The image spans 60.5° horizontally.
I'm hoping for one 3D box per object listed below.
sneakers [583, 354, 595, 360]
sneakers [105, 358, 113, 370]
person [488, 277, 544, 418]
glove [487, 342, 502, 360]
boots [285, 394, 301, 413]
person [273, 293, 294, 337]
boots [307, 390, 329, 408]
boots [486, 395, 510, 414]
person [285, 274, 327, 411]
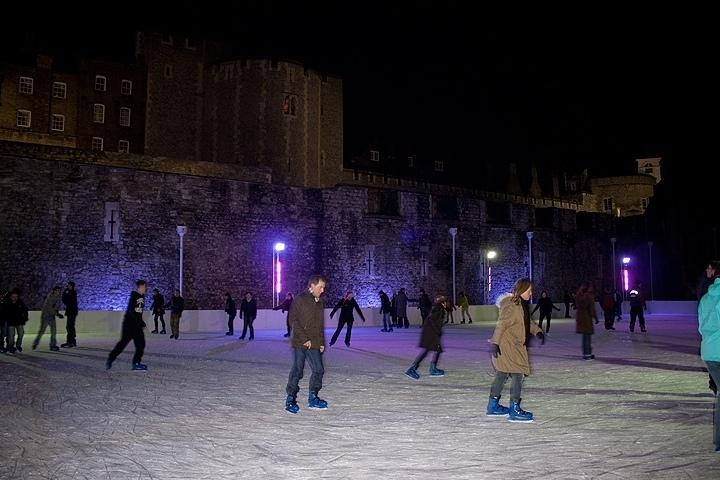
[{"bbox_3d":[6.460,3.344,17.510,0.153,0.184,0.431,-2,-16,7],"label":"sneakers"},{"bbox_3d":[-6.461,3.177,15.770,0.191,0.140,0.327,8,-24,-32],"label":"sneakers"},{"bbox_3d":[2.666,1.869,10.732,0.885,2.403,1.313,0,-2,12],"label":"person"},{"bbox_3d":[2.229,1.846,10.227,0.180,0.254,0.090,-2,-4,28],"label":"glove"},{"bbox_3d":[-1.264,2.967,11.171,0.331,0.331,0.219,-2,-7,23],"label":"boots"},{"bbox_3d":[-3.406,3.289,26.610,1.061,1.371,2.699,-1,23,-5],"label":"person"},{"bbox_3d":[-0.814,2.990,11.568,0.389,0.391,0.225,-1,-3,18],"label":"boots"},{"bbox_3d":[2.466,2.941,10.973,0.497,0.362,0.210,0,-2,-15],"label":"boots"},{"bbox_3d":[-0.958,1.874,11.176,0.731,2.434,0.788,1,-2,-5],"label":"person"}]
